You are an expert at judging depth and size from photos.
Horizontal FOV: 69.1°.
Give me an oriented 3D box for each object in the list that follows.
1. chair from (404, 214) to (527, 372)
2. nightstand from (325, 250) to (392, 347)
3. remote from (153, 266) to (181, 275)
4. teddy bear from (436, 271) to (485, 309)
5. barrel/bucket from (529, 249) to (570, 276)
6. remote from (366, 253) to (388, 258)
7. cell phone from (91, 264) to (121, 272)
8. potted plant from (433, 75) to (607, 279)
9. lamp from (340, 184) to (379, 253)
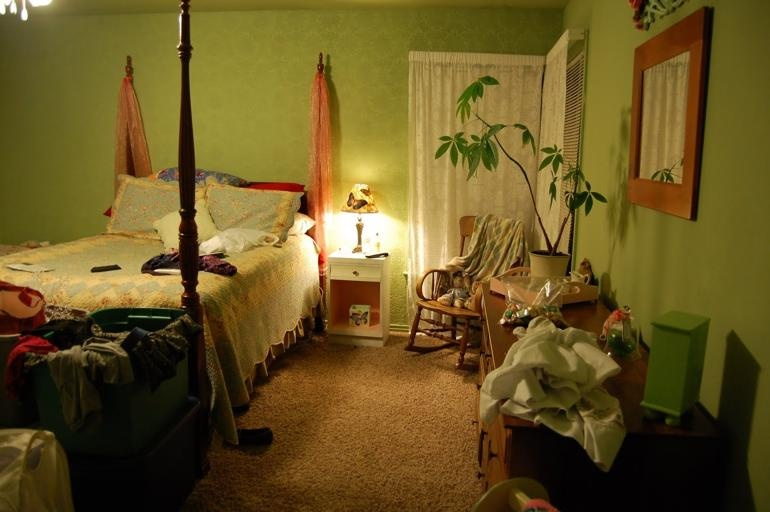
[{"bbox_3d":[0.473,0.310,4.738,0.846,1.171,0.717,-6,3,-2],"label":"chair"},{"bbox_3d":[-0.231,0.348,4.918,0.536,0.777,0.499,1,6,0],"label":"nightstand"},{"bbox_3d":[-1.398,0.093,3.573,0.190,0.040,0.089,3,6,18],"label":"remote"},{"bbox_3d":[0.613,0.278,4.497,0.349,0.409,0.265,5,-30,-7],"label":"teddy bear"},{"bbox_3d":[1.012,0.045,3.487,0.231,0.148,0.260,3,6,18],"label":"barrel/bucket"},{"bbox_3d":[-0.075,-0.015,4.728,0.119,0.033,0.067,-8,4,-27],"label":"remote"},{"bbox_3d":[-1.827,0.077,3.655,0.185,0.037,0.148,-3,7,-35],"label":"cell phone"},{"bbox_3d":[0.927,-0.537,3.926,1.226,1.612,0.693,-1,23,40],"label":"potted plant"},{"bbox_3d":[-0.223,-0.340,4.899,0.298,0.599,0.404,1,6,-1],"label":"lamp"}]
